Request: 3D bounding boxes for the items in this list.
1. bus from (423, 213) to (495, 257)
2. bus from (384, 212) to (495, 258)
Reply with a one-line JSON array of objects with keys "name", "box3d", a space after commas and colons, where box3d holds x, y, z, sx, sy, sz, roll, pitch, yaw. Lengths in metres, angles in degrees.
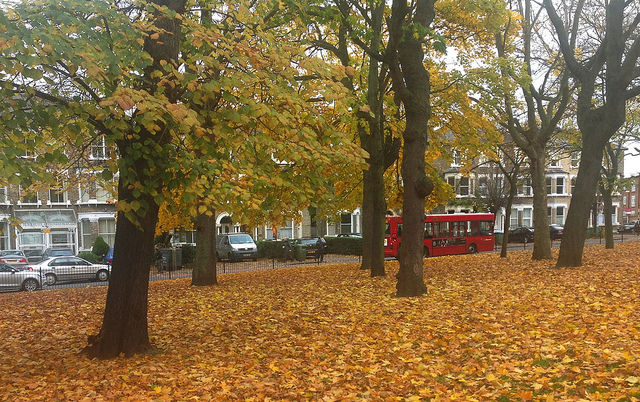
[{"name": "bus", "box3d": [9.154, 2.149, 39.448, 6.065, 2.944, 0.526, -6, 4, -34]}, {"name": "bus", "box3d": [7.801, 2.126, 39.758, 9.060, 2.880, 2.060, -1, 3, -32]}]
